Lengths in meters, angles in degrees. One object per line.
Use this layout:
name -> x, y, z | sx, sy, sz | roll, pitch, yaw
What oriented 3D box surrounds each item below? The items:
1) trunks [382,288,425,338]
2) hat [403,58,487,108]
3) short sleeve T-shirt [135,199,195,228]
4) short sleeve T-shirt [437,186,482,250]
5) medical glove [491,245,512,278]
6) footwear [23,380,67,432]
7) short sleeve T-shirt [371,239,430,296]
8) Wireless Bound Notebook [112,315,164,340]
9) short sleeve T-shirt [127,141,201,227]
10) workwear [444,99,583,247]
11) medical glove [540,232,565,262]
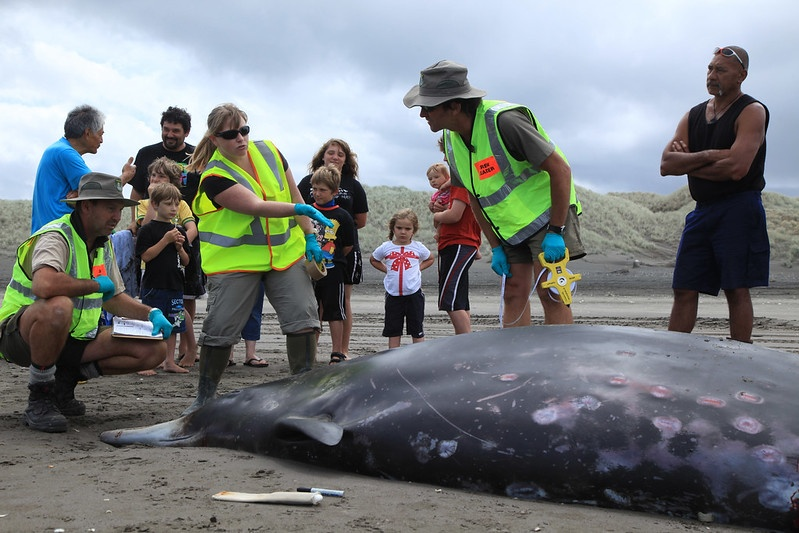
trunks -> 0.056, 0.511, 7.393 | 0.460, 0.584, 0.315 | -1, 27, -5
hat -> 0.338, -1.472, 5.191 | 0.726, 0.328, 0.661 | -4, 27, -6
short sleeve T-shirt -> -2.649, -0.600, 7.418 | 0.596, 0.452, 0.326 | -1, -18, -13
short sleeve T-shirt -> 0.636, -0.484, 6.979 | 0.355, 0.643, 0.650 | -4, -7, 1
medical glove -> 0.860, -0.031, 5.597 | 0.083, 0.238, 0.176 | 6, -36, -34
footwear -> -2.503, 1.005, 4.673 | 0.213, 0.313, 0.336 | -3, 4, -38
short sleeve T-shirt -> 0.037, 0.020, 7.595 | 0.644, 0.650, 0.383 | -1, -1, -2
Wireless Bound Notebook -> -2.070, 0.491, 5.131 | 0.224, 0.061, 0.227 | 3, 26, -8
short sleeve T-shirt -> -2.719, -1.097, 8.086 | 1.191, 0.448, 1.226 | -2, -43, -15
workwear -> 0.801, -0.720, 5.181 | 0.934, 1.129, 0.520 | 1, 3, 16
medical glove -> 1.191, -0.139, 5.046 | 0.196, 0.233, 0.151 | 0, 3, -2
